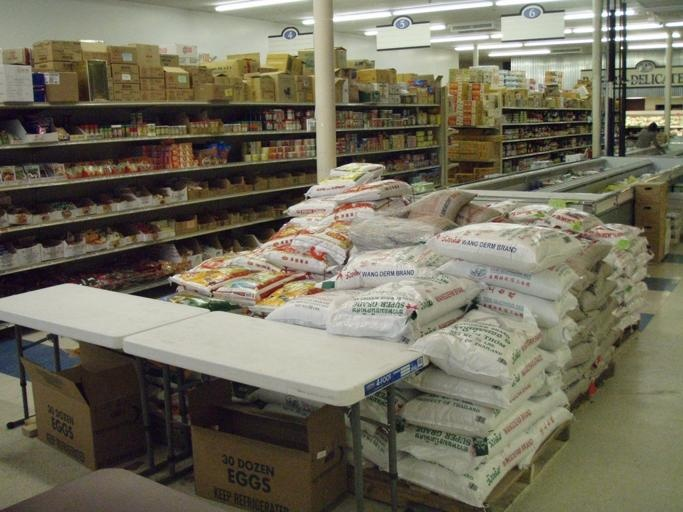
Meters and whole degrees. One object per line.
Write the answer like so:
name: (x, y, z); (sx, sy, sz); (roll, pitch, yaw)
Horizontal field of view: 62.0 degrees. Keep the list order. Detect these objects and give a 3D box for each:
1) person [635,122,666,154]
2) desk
person: (6.861, -2.627, 12.571); (0.512, 0.663, 1.676); (5, 15, 27)
desk: (-0.581, 0.716, 2.838); (1.624, 0.346, 0.385); (5, 12, 27)
